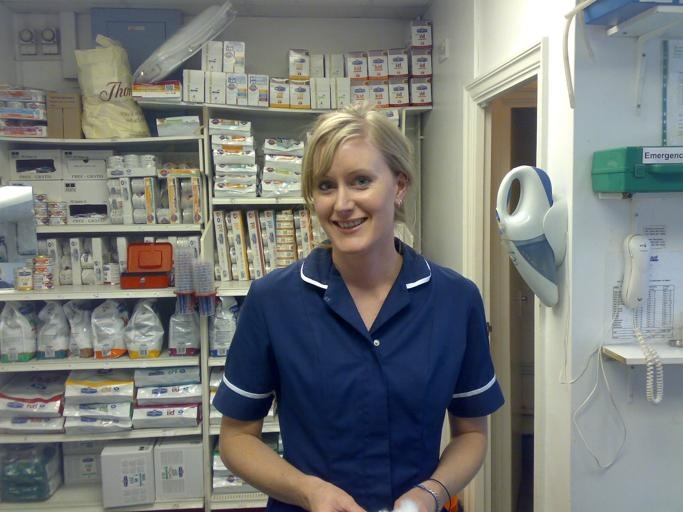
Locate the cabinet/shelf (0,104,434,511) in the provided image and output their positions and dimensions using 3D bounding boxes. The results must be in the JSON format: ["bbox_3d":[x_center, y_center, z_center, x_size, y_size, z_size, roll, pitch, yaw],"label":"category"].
[{"bbox_3d":[-0.796,0.288,3.382,2.432,2.226,0.776,-1,0,-2],"label":"cabinet/shelf"}]
